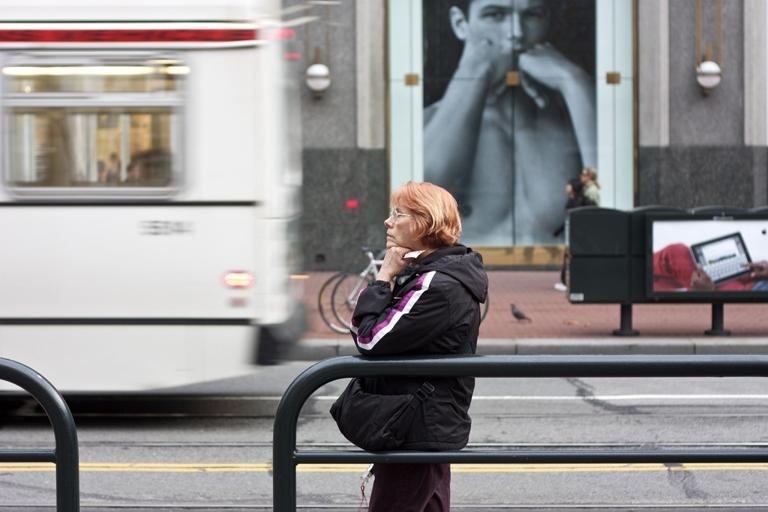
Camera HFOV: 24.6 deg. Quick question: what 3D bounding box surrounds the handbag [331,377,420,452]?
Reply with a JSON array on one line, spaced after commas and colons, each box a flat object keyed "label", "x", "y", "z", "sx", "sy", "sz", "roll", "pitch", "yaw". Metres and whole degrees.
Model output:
[{"label": "handbag", "x": -0.124, "y": 1.575, "z": 18.058, "sx": 0.866, "sy": 0.653, "sz": 0.692, "roll": -5, "pitch": 10, "yaw": -37}]

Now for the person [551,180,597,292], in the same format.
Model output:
[{"label": "person", "x": 2.911, "y": -0.426, "z": 26.839, "sx": 0.662, "sy": 1.656, "sz": 0.567, "roll": 1, "pitch": 2, "yaw": 9}]

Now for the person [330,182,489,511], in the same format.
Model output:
[{"label": "person", "x": 0.306, "y": 0.939, "z": 17.983, "sx": 1.461, "sy": 3.354, "sz": 0.581, "roll": -1, "pitch": 5, "yaw": 2}]
